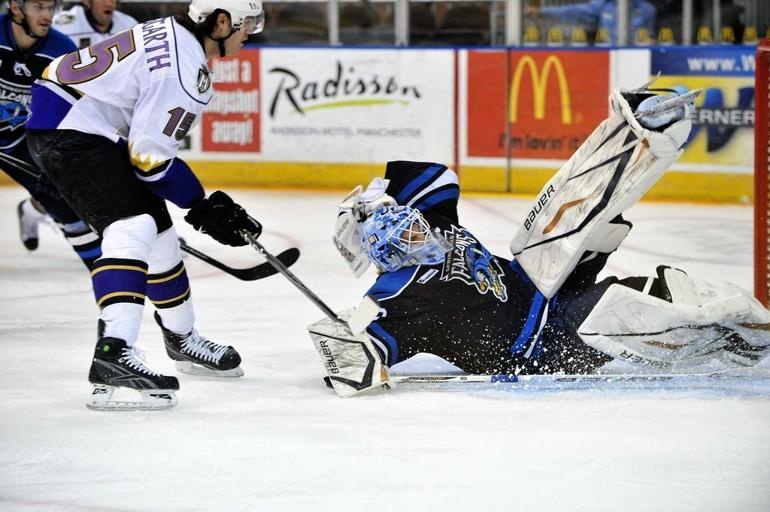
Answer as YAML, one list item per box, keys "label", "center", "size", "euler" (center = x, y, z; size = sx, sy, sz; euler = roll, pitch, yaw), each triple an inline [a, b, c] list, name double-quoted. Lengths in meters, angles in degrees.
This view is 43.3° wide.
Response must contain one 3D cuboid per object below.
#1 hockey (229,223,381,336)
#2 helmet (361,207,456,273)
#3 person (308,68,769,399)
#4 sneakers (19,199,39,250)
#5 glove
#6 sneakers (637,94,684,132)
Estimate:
- label: "hockey"
  center: [-0.355, 0.096, 3.964]
  size: [0.724, 0.238, 0.046]
  euler: [43, 25, 15]
- label: "helmet"
  center: [0.080, -0.062, 3.870]
  size: [0.326, 0.231, 0.224]
  euler: [14, 50, 5]
- label: "person"
  center: [0.571, 0.073, 3.881]
  size: [1.670, 1.210, 0.648]
  euler: [-13, -38, 23]
- label: "sneakers"
  center: [-2.330, -0.207, 6.318]
  size: [0.235, 0.298, 0.113]
  euler: [17, 24, 40]
- label: "glove"
  center: [-0.689, -0.143, 4.048]
  size: [0.289, 0.195, 0.104]
  euler: [40, -11, -16]
- label: "sneakers"
  center: [1.057, -0.554, 3.746]
  size: [0.135, 0.127, 0.145]
  euler: [-7, 17, -33]
